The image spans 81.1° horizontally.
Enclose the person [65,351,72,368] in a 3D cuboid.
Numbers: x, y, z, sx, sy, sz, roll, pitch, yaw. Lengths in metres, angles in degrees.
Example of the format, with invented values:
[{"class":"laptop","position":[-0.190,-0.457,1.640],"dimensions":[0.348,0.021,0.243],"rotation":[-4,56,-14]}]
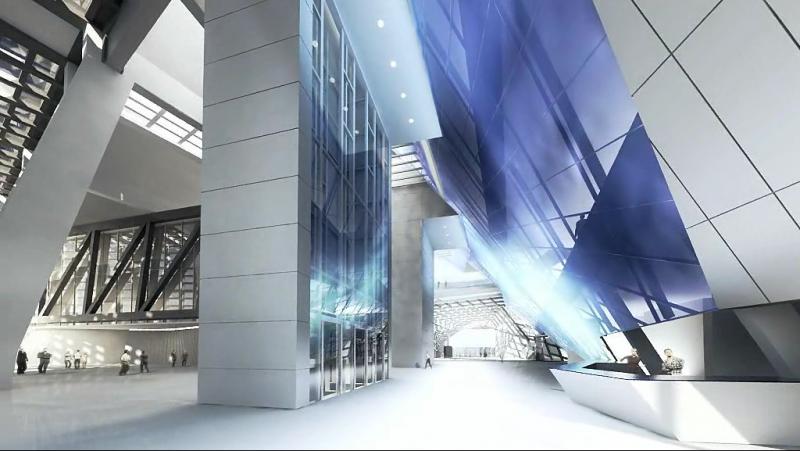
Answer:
[{"class":"person","position":[-24.700,10.117,35.013],"dimensions":[0.302,0.892,1.011],"rotation":[9,-14,-39]}]

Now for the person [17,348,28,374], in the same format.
[{"class":"person","position":[-22.565,8.166,28.075],"dimensions":[0.390,1.378,1.151],"rotation":[9,-14,-39]}]

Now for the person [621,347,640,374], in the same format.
[{"class":"person","position":[8.982,5.221,18.154],"dimensions":[0.678,0.954,3.626],"rotation":[-4,-11,24]}]
